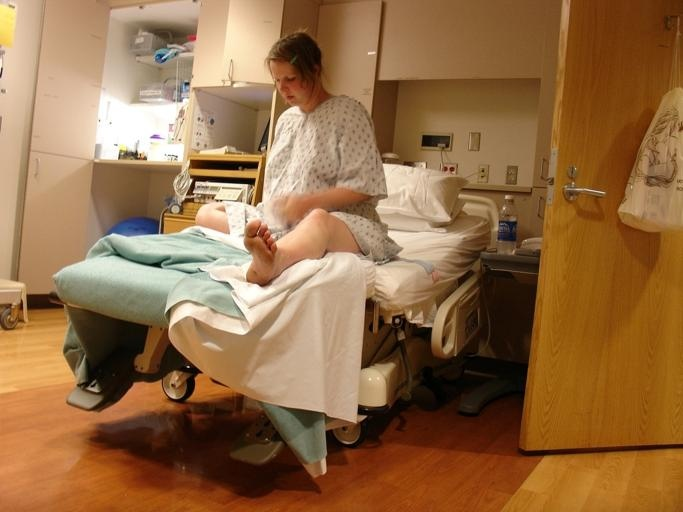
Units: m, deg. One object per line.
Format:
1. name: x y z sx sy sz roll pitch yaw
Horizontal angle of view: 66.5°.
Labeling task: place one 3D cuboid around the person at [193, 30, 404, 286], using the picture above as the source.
1. person: -0.192 -0.383 2.163 0.904 0.932 0.901 -6 10 -41

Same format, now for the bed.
1. bed: -0.092 0.086 1.954 0.720 0.421 1.226 12 19 33

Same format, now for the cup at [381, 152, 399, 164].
1. cup: 0.317 -0.634 3.416 0.096 0.091 0.092 2 17 -1
